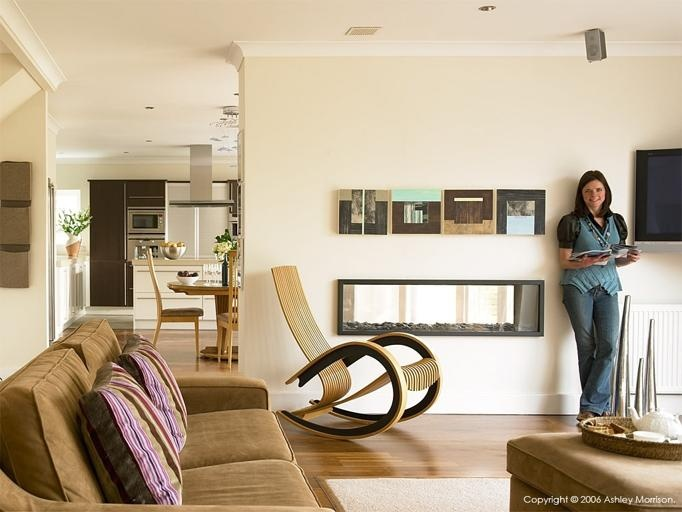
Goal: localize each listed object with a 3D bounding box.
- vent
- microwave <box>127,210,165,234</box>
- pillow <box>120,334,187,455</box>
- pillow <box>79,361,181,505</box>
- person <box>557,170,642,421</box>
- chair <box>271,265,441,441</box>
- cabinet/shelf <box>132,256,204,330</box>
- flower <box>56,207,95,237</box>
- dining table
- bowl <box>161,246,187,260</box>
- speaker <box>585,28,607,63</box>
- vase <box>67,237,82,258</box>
[{"bbox_3d":[-2.085,-1.127,8.970,0.978,0.820,0.351,0,-7,-6],"label":"vent"},{"bbox_3d":[-3.217,-0.577,9.981,0.656,0.437,0.399,1,-3,-5],"label":"microwave"},{"bbox_3d":[-0.884,0.658,2.875,0.264,0.459,0.729,-14,3,-7],"label":"pillow"},{"bbox_3d":[-0.805,0.683,2.283,0.236,0.369,0.500,-6,3,-8],"label":"pillow"},{"bbox_3d":[1.942,0.287,4.626,0.559,1.896,0.564,2,6,14],"label":"person"},{"bbox_3d":[0.047,0.672,4.319,1.201,1.126,0.627,2,2,31],"label":"chair"},{"bbox_3d":[-2.658,0.632,8.905,1.118,0.943,0.621,3,-8,-43],"label":"cabinet/shelf"},{"bbox_3d":[-4.430,-0.550,10.101,0.561,0.537,0.550,5,-9,-21],"label":"flower"},{"bbox_3d":[-1.535,0.689,6.793,1.004,0.649,0.955,0,-2,-5],"label":"dining table"},{"bbox_3d":[-2.446,-0.061,8.852,0.272,0.134,0.259,-1,-5,0],"label":"bowl"},{"bbox_3d":[1.881,-1.562,4.469,0.138,0.207,0.131,2,19,32],"label":"speaker"},{"bbox_3d":[-4.219,-0.144,9.553,0.202,0.315,0.151,-3,6,-32],"label":"vase"}]
